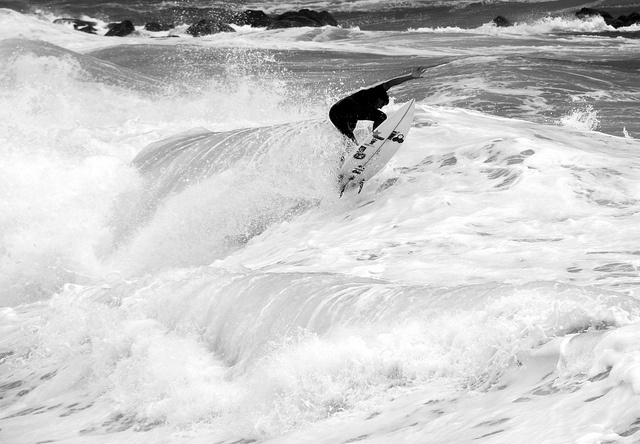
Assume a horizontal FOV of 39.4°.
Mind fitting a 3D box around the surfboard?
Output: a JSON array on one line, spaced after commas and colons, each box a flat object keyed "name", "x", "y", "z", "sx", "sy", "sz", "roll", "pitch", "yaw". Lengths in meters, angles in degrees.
[{"name": "surfboard", "x": 1.126, "y": -1.589, "z": 17.339, "sx": 0.423, "sy": 1.788, "sz": 1.754, "roll": 44, "pitch": -6, "yaw": 17}]
